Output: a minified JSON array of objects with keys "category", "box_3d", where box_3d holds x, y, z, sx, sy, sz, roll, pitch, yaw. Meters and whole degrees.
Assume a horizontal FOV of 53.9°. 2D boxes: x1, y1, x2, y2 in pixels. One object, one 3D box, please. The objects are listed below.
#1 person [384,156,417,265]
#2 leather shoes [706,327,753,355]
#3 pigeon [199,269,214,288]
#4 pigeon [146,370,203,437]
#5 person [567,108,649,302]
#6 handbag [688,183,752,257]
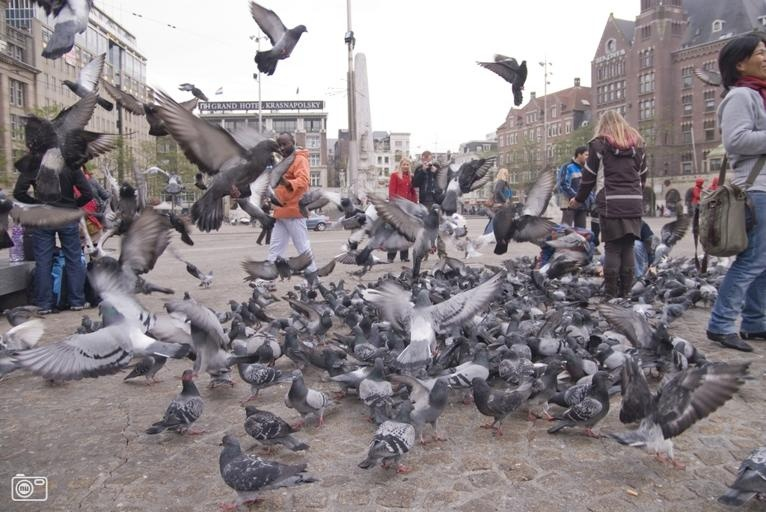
[{"category":"person","box_3d":[0.350,-0.967,15.864,0.628,2.012,0.815,-1,2,-36]},{"category":"leather shoes","box_3d":[4.528,1.133,9.989,0.222,0.259,0.594,12,3,-39]},{"category":"pigeon","box_3d":[-3.314,0.427,14.115,0.268,0.164,0.401,-19,0,-23]},{"category":"pigeon","box_3d":[-2.273,1.644,8.358,0.311,0.597,0.595,11,14,37]},{"category":"person","box_3d":[3.410,-0.710,11.523,0.931,2.685,1.108,0,2,11]},{"category":"handbag","box_3d":[4.337,-0.390,9.823,0.474,1.049,0.884,-1,-1,2]}]
